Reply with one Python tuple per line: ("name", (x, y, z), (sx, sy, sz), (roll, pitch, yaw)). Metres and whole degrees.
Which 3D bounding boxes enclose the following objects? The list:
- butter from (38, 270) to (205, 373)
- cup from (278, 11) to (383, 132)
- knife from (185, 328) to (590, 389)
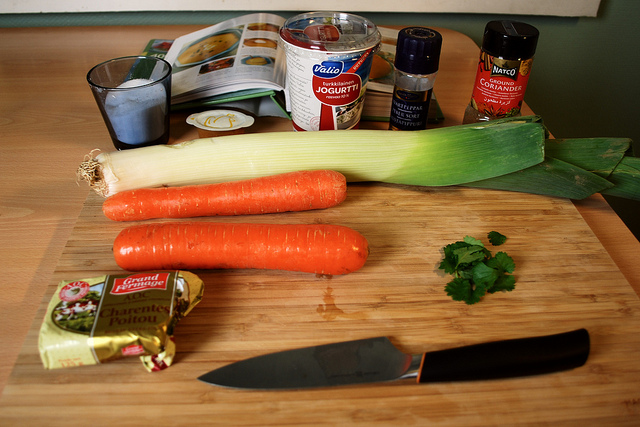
("butter", (-0.522, 0.277, 1.323), (0.401, 0.134, 0.242), (-2, 39, -3))
("cup", (0.021, -0.476, 1.706), (0.325, 0.375, 0.323), (1, 45, -1))
("knife", (0.171, 0.385, 1.308), (1.029, 0.054, 0.097), (-6, 35, 6))
